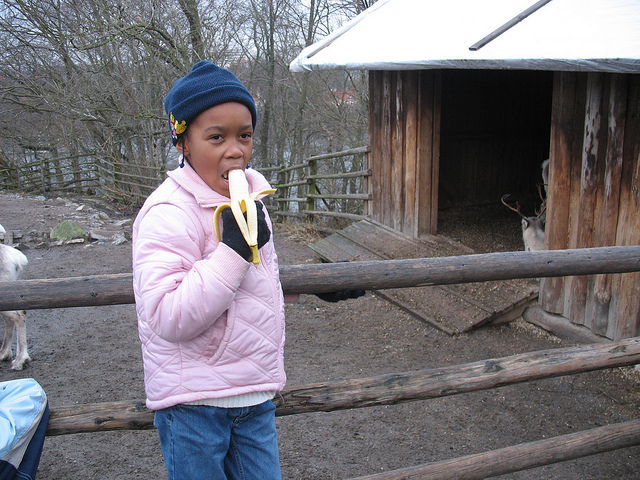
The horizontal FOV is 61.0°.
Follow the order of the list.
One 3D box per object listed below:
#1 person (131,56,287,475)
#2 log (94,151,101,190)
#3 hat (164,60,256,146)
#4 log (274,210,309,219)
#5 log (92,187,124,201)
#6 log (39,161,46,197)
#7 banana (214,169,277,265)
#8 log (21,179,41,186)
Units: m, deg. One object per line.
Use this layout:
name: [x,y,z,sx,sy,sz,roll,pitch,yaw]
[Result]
person: [-0.480,0.156,2.367,0.628,1.833,0.357,-6,11,-16]
log: [-7.009,-2.223,17.115,0.109,1.287,0.118,-1,8,34]
hat: [-0.486,-0.613,2.409,0.403,0.360,0.238,-6,11,-15]
log: [-0.599,-0.553,11.554,0.146,0.149,1.227,6,4,-29]
log: [-6.338,-1.401,16.295,0.176,0.113,1.304,6,14,-36]
log: [-8.695,-1.985,17.031,0.113,0.981,1.210,-8,13,-26]
banana: [-0.377,-0.106,2.310,0.218,0.167,0.413,-3,47,-31]
log: [-9.567,-1.921,17.935,0.677,0.143,0.309,3,13,24]
